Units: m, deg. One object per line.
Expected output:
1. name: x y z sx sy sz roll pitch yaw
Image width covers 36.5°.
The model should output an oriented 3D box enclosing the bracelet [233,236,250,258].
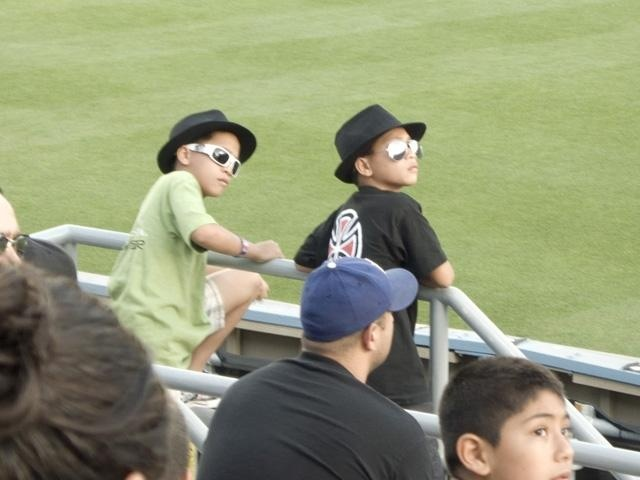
1. bracelet: -0.252 0.026 3.205 0.036 0.058 0.049 2 13 -40

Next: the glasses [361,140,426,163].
1. glasses: 0.283 -0.307 3.273 0.095 0.034 0.094 6 -20 -39

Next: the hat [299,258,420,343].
1. hat: 0.111 0.161 2.595 0.316 0.149 0.189 -25 34 -20

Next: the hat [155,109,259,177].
1. hat: -0.393 -0.362 3.383 0.319 0.096 0.245 -11 -25 -20

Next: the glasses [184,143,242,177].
1. glasses: -0.366 -0.288 3.357 0.137 0.039 0.112 25 -9 27

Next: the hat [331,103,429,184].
1. hat: 0.144 -0.347 3.359 0.323 0.124 0.273 -33 -7 18
